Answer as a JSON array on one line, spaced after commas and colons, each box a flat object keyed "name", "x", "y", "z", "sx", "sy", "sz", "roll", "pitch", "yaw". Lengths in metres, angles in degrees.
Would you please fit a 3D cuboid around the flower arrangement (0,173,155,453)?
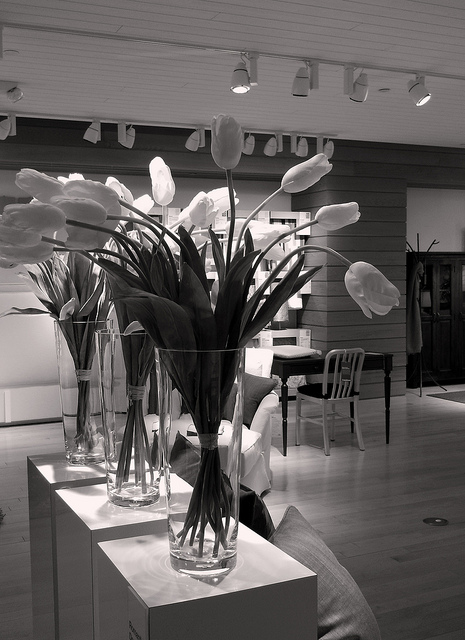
[{"name": "flower arrangement", "x": -0.344, "y": -0.002, "z": 1.404, "sx": 0.462, "sy": 0.827, "sz": 0.480, "roll": -1, "pitch": 1, "yaw": 8}]

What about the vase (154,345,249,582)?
[{"name": "vase", "x": -0.057, "y": 0.189, "z": 0.696, "sx": 0.148, "sy": 0.323, "sz": 0.135, "roll": 1, "pitch": 3, "yaw": 13}]

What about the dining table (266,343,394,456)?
[{"name": "dining table", "x": 1.031, "y": 0.760, "z": 5.343, "sx": 1.116, "sy": 1.071, "sz": 0.793, "roll": -5, "pitch": 14, "yaw": -4}]

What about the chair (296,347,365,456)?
[{"name": "chair", "x": 0.966, "y": 0.742, "z": 4.937, "sx": 0.445, "sy": 1.102, "sz": 0.568, "roll": -3, "pitch": 7, "yaw": -28}]

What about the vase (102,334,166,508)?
[{"name": "vase", "x": -0.197, "y": 0.197, "z": 0.988, "sx": 0.112, "sy": 0.322, "sz": 0.122, "roll": 6, "pitch": -35, "yaw": -16}]

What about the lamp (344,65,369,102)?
[{"name": "lamp", "x": 0.989, "y": -1.910, "z": 4.061, "sx": 0.176, "sy": 0.292, "sz": 0.142, "roll": 1, "pitch": 3, "yaw": 11}]

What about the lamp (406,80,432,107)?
[{"name": "lamp", "x": 1.565, "y": -1.947, "z": 4.245, "sx": 0.163, "sy": 0.274, "sz": 0.225, "roll": 1, "pitch": 3, "yaw": 22}]

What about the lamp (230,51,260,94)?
[{"name": "lamp", "x": 0.109, "y": -1.858, "z": 3.772, "sx": 0.195, "sy": 0.279, "sz": 0.296, "roll": 2, "pitch": 3, "yaw": 33}]
